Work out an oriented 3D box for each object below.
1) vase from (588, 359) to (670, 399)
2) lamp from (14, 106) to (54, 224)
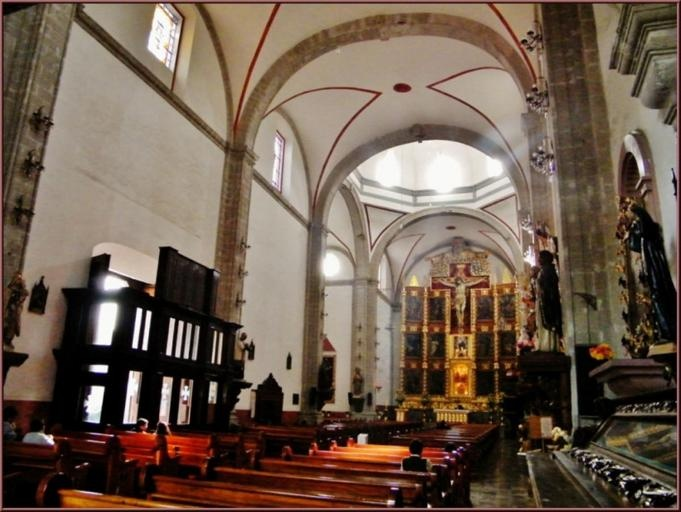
[{"bbox_3d":[2.853,1.191,5.054,0.598,0.278,0.814,-3,-14,20],"label":"vase"},{"bbox_3d":[-4.597,-1.366,7.632,0.290,1.789,0.457,10,-22,-32],"label":"lamp"}]
